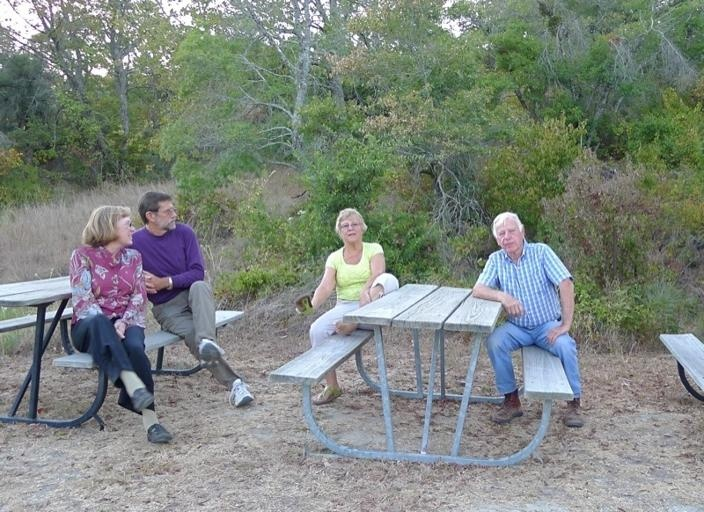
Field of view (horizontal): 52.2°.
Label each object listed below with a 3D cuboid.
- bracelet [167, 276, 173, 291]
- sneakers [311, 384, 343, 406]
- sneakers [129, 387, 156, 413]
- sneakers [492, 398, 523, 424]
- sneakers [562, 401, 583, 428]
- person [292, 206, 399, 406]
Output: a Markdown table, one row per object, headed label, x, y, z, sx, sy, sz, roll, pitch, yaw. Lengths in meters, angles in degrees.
| label | x | y | z | sx | sy | sz | roll | pitch | yaw |
| --- | --- | --- | --- | --- | --- | --- | --- | --- | --- |
| bracelet | -2.146 | 0.322 | 8.437 | 0.039 | 0.111 | 0.073 | 4 | -5 | -29 |
| sneakers | -0.286 | 1.643 | 8.524 | 0.188 | 0.133 | 0.315 | -14 | -9 | 34 |
| sneakers | -2.217 | 1.509 | 7.554 | 0.168 | 0.338 | 0.131 | -28 | 36 | -15 |
| sneakers | 1.721 | 1.763 | 8.176 | 0.432 | 0.312 | 0.161 | -5 | 1 | -23 |
| sneakers | 2.462 | 1.769 | 7.951 | 0.136 | 0.263 | 0.382 | -4 | -27 | 11 |
| person | -0.096 | 0.498 | 8.470 | 1.132 | 2.215 | 1.049 | -3 | -6 | -12 |
